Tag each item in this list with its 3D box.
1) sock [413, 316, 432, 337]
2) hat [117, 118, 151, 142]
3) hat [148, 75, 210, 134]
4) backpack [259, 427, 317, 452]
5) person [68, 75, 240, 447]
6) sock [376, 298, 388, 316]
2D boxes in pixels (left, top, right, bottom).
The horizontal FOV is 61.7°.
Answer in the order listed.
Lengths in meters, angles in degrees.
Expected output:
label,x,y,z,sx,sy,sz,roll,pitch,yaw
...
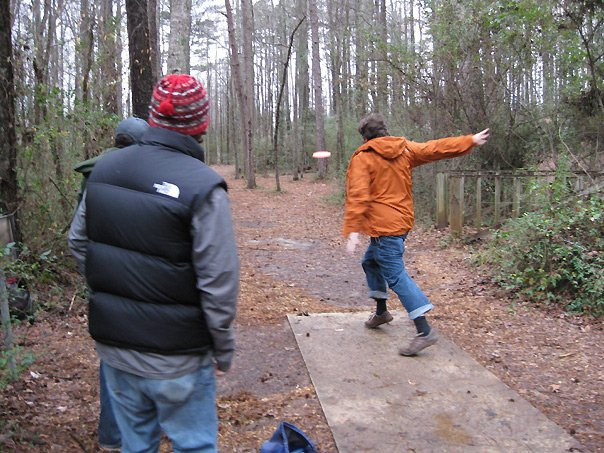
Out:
label,x,y,z,sx,sy,sz,roll,pitch,yaw
sock,1.268,1.048,5.408,0.182,0.239,0.133,7,15,18
hat,-1.498,-0.851,4.469,0.254,0.192,0.254,-2,14,-18
hat,-0.810,-0.789,3.282,0.429,0.337,0.420,3,24,-2
backpack,-0.086,1.536,3.702,0.290,0.133,0.208,14,-20,-8
person,-0.857,0.237,3.111,0.959,2.257,0.621,7,16,17
sock,0.920,0.945,5.979,0.104,0.233,0.081,4,15,7
